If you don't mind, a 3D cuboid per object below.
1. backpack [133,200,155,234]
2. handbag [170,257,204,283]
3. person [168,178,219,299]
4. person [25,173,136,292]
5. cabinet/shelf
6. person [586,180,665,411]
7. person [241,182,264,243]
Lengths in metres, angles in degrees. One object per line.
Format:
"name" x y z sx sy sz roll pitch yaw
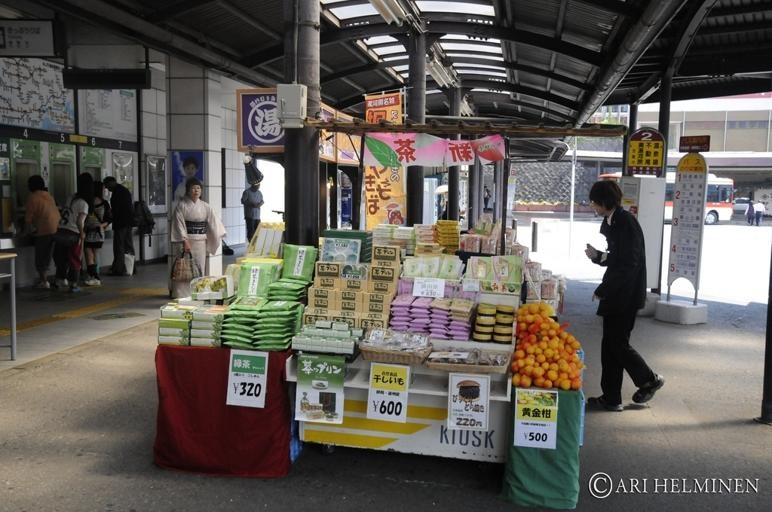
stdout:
"backpack" -5.840 -0.929 14.425 0.477 0.916 0.675 -5 13 -15
"handbag" -3.289 0.227 9.983 0.173 0.432 0.457 0 -2 43
"person" -3.539 -0.307 10.720 1.022 2.561 1.108 -4 -8 4
"person" -6.317 -0.495 11.954 0.960 2.323 1.540 4 7 27
"cabinet/shelf" 0.530 1.233 6.756 2.122 1.565 1.813 1 0 13
"person" 2.785 0.505 7.428 1.045 2.842 1.001 -5 -9 19
"person" -3.817 -1.237 17.211 0.643 1.721 1.555 0 6 -12
